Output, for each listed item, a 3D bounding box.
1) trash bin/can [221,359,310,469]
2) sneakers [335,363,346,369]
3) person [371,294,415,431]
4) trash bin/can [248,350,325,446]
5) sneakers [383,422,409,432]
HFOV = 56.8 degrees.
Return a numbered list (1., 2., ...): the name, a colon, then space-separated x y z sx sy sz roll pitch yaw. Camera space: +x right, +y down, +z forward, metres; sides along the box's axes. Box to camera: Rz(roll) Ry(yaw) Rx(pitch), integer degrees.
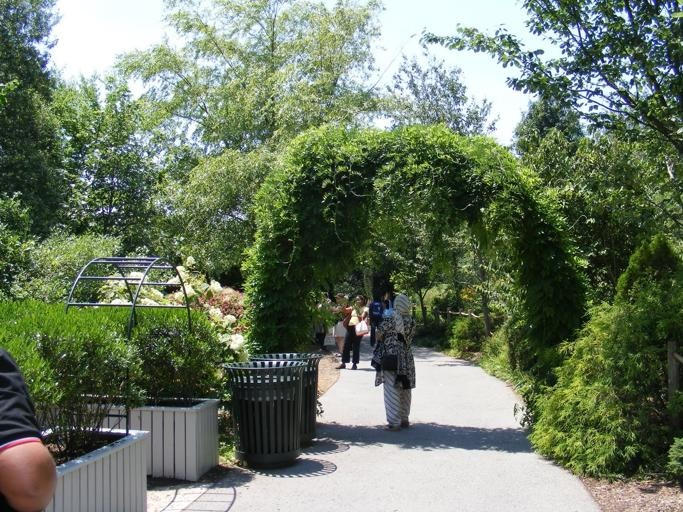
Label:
1. trash bin/can: -1.036 2.219 9.279 1.216 1.470 1.257 1 -3 -39
2. sneakers: -0.014 3.098 17.823 0.270 0.163 0.601 3 -7 -1
3. person: 0.919 1.800 11.019 0.706 2.310 0.727 2 -5 4
4. trash bin/can: -0.905 2.267 10.127 1.216 1.614 1.317 0 2 0
5. sneakers: 0.937 2.929 10.775 0.427 0.202 0.147 9 -12 -29
